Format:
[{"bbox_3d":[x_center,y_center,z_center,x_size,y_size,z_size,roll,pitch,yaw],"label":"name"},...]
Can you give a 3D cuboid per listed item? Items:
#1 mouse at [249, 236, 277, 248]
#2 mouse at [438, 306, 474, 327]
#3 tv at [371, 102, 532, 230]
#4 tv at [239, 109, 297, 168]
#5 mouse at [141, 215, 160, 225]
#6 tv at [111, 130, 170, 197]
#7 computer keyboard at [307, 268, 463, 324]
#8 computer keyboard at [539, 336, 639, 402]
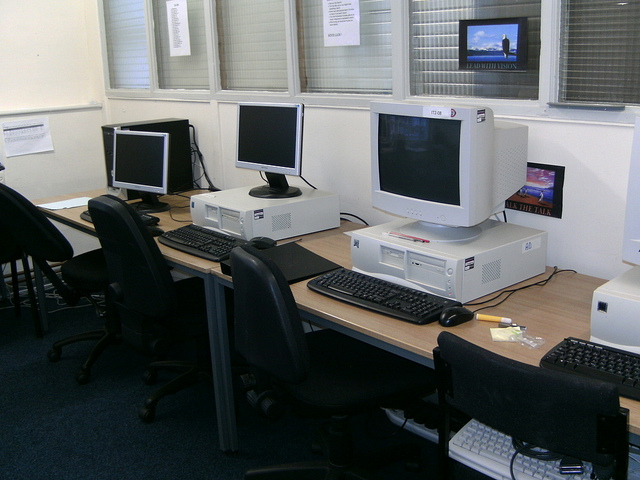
[{"bbox_3d":[-0.246,0.007,2.217,0.091,0.028,0.048,-3,14,-9],"label":"mouse"},{"bbox_3d":[0.422,0.237,1.557,0.102,0.034,0.051,-15,23,-35],"label":"mouse"},{"bbox_3d":[0.545,-0.338,1.981,0.538,0.384,0.535,-17,20,-40],"label":"tv"},{"bbox_3d":[-0.268,-0.531,2.583,0.485,0.335,0.047,13,14,40],"label":"tv"},{"bbox_3d":[-0.926,-0.116,2.700,0.061,0.018,0.062,24,28,36],"label":"mouse"},{"bbox_3d":[-1.068,-0.473,2.990,0.485,0.346,0.044,10,11,31],"label":"tv"},{"bbox_3d":[0.202,0.192,1.737,0.528,0.043,0.182,11,23,35],"label":"computer keyboard"},{"bbox_3d":[0.729,0.319,1.303,0.193,0.034,0.236,-20,25,-41],"label":"computer keyboard"}]
